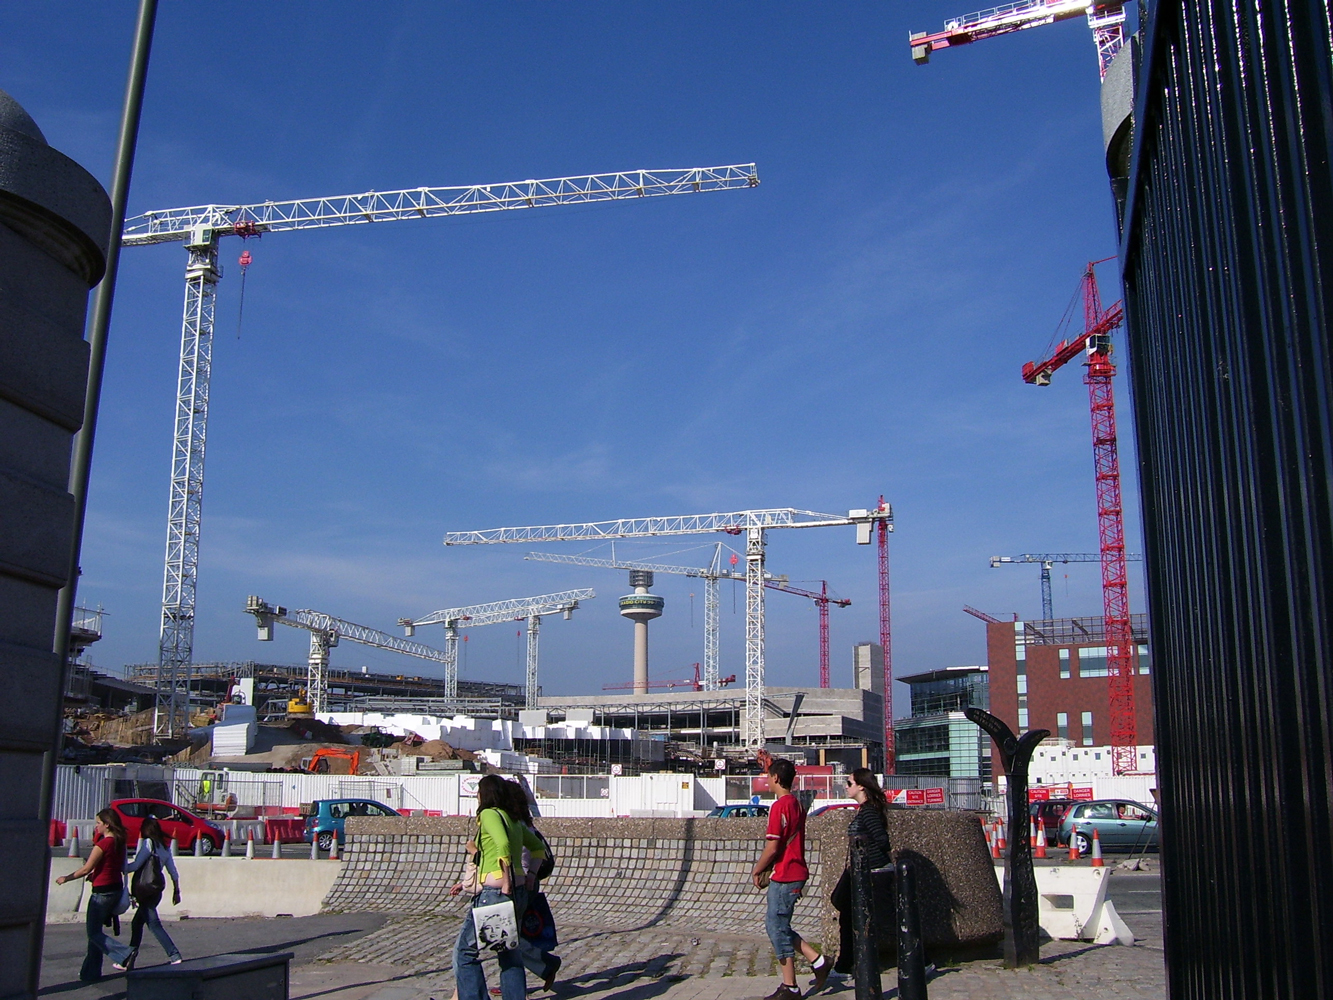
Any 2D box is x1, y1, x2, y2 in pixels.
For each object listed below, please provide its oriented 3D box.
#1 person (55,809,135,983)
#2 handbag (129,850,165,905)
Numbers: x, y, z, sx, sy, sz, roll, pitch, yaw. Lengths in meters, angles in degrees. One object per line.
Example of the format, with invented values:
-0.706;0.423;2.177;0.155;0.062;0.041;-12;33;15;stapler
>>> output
-5.320;3.657;11.860;0.522;1.487;3.994;5;-18;-23;person
-4.864;3.585;11.910;0.279;0.451;0.257;5;-17;-21;handbag
